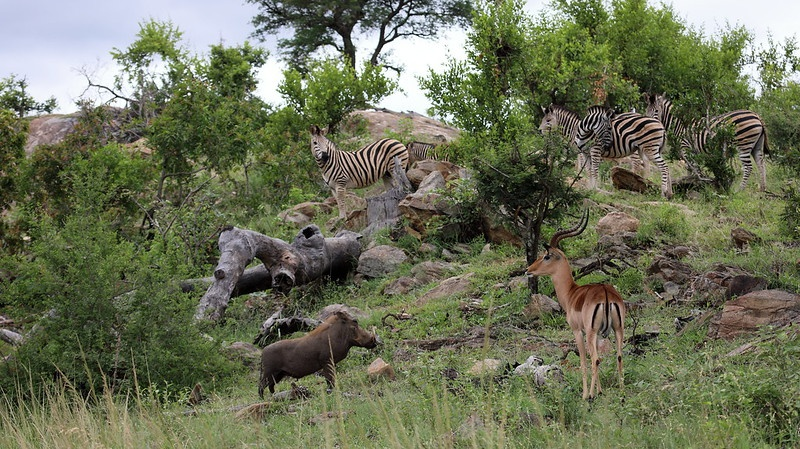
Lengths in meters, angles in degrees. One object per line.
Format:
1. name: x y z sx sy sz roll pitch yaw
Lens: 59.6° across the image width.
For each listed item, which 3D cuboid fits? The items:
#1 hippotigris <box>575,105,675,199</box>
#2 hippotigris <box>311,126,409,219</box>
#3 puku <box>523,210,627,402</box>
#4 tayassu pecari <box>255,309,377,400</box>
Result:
1. hippotigris: 7.503 -2.418 23.201 2.172 3.475 5.126 2 1 5
2. hippotigris: -1.460 -2.016 25.718 4.616 3.389 1.327 -6 13 -30
3. puku: 3.837 1.716 14.960 1.165 3.662 2.765 -3 -4 -15
4. tayassu pecari: -1.896 2.782 15.230 2.470 1.627 0.452 -8 -5 3
